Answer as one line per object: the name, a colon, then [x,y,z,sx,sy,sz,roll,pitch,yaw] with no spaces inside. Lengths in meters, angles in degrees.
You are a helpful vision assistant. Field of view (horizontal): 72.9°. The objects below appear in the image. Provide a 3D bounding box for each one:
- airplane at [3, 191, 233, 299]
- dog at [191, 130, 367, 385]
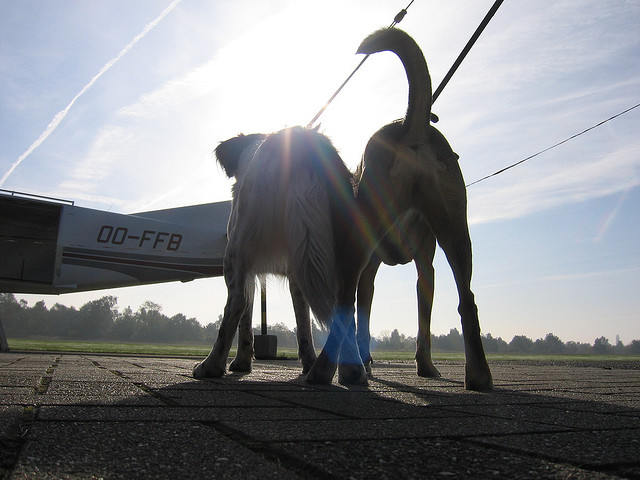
airplane: [-7.738,0.189,18.170,9.364,4.109,5.709,1,-5,-18]
dog: [-0.463,-0.071,3.903,1.107,2.287,2.776,1,0,-17]
